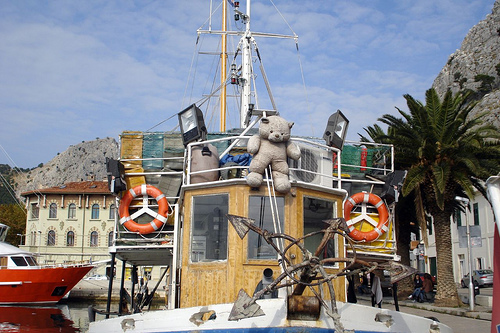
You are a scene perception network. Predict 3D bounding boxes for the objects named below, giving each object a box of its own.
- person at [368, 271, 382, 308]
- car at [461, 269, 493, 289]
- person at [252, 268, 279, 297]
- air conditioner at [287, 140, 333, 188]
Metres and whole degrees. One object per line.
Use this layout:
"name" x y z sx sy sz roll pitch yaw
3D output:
"person" 5.052 4.938 22.806 0.375 1.554 0.474 3 20 26
"car" 17.481 8.399 44.530 1.841 1.352 4.089 0 -8 -5
"person" 0.458 3.747 18.407 0.644 1.369 0.915 -9 29 -15
"air conditioner" 1.892 0.036 21.653 2.386 1.617 1.240 14 -12 -39
